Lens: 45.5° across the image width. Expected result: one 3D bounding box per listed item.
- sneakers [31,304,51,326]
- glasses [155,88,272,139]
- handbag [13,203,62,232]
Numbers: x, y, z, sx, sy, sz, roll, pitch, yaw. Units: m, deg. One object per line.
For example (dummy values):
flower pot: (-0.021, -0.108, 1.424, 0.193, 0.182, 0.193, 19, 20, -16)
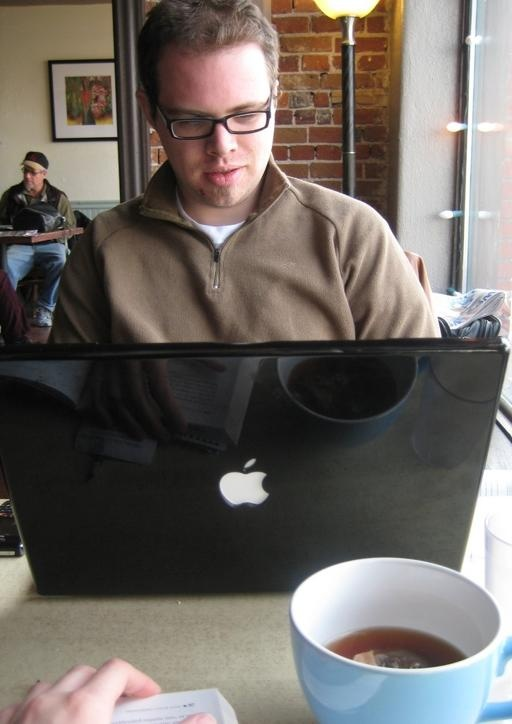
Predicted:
sneakers: (-1.922, -0.407, 5.365, 0.187, 0.215, 0.508, 0, 2, -18)
glasses: (-0.070, -0.397, 1.000, 0.190, 0.069, 0.080, -1, 11, 1)
handbag: (-1.768, -1.152, 4.905, 0.372, 0.231, 0.377, 3, 22, 8)
